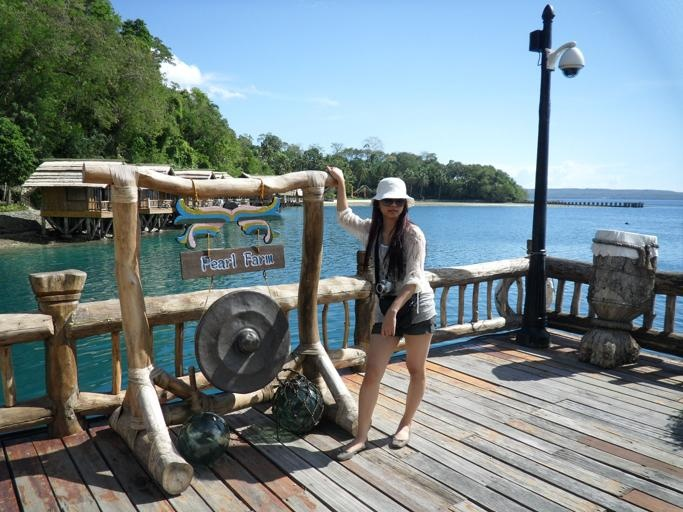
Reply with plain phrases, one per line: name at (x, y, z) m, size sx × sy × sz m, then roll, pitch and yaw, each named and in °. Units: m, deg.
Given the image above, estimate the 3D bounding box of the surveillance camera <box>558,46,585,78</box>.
surveillance camera at (2.928, -2.486, 5.581) m, size 0.219 × 0.349 × 0.212 m, roll -3°, pitch 10°, yaw -20°

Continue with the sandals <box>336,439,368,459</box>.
sandals at (0.081, 1.497, 3.445) m, size 0.236 × 0.093 × 0.090 m, roll 0°, pitch 0°, yaw -42°

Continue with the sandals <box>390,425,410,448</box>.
sandals at (0.498, 1.480, 3.632) m, size 0.082 × 0.097 × 0.230 m, roll -3°, pitch -4°, yaw 22°

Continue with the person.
person at (0.366, 0.436, 3.643) m, size 0.789 × 2.169 × 0.992 m, roll 0°, pitch 9°, yaw -1°

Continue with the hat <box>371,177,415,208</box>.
hat at (0.394, -0.531, 3.443) m, size 0.229 × 0.145 × 0.280 m, roll 2°, pitch -6°, yaw 0°

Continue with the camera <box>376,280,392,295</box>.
camera at (0.332, 0.235, 3.439) m, size 0.124 × 0.121 × 0.101 m, roll 2°, pitch 13°, yaw -17°
